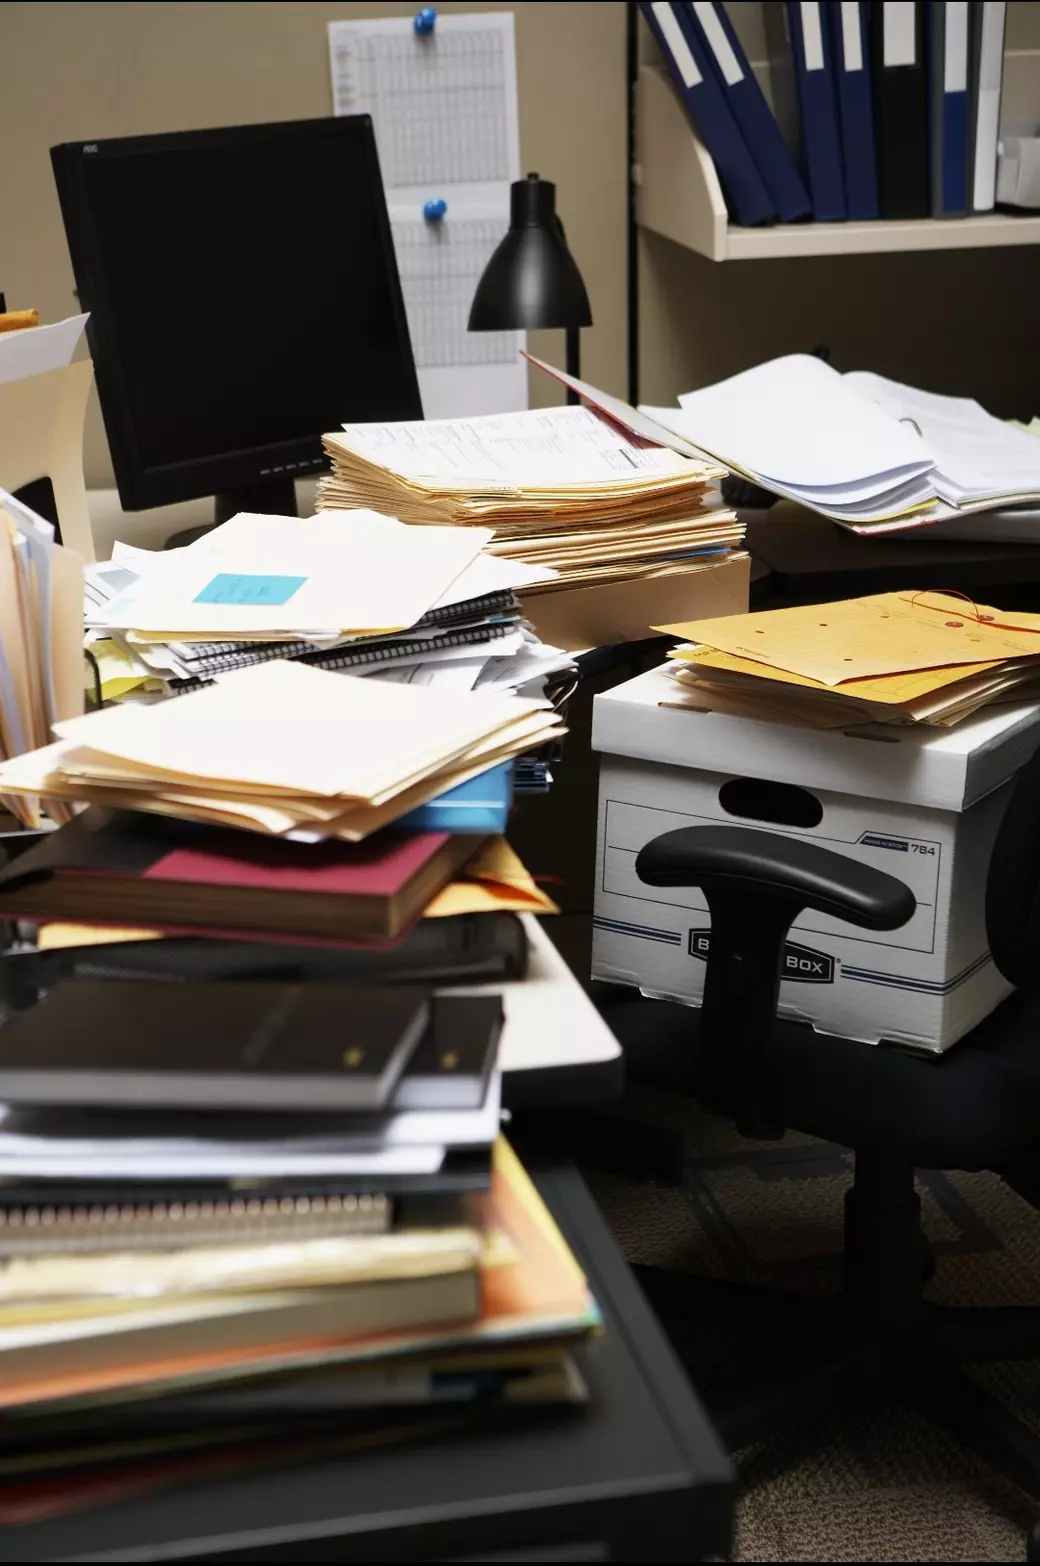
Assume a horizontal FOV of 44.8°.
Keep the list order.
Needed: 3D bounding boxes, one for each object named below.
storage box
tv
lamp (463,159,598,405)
[{"bbox_3d":[0.264,0.029,1.075,0.369,0.267,0.298,13,20,36],"label":"storage box"},{"bbox_3d":[-0.290,-0.530,1.398,0.047,0.375,0.463,11,30,37],"label":"tv"},{"bbox_3d":[0.030,-0.603,1.651,0.160,0.318,0.238,5,19,19],"label":"lamp"}]
